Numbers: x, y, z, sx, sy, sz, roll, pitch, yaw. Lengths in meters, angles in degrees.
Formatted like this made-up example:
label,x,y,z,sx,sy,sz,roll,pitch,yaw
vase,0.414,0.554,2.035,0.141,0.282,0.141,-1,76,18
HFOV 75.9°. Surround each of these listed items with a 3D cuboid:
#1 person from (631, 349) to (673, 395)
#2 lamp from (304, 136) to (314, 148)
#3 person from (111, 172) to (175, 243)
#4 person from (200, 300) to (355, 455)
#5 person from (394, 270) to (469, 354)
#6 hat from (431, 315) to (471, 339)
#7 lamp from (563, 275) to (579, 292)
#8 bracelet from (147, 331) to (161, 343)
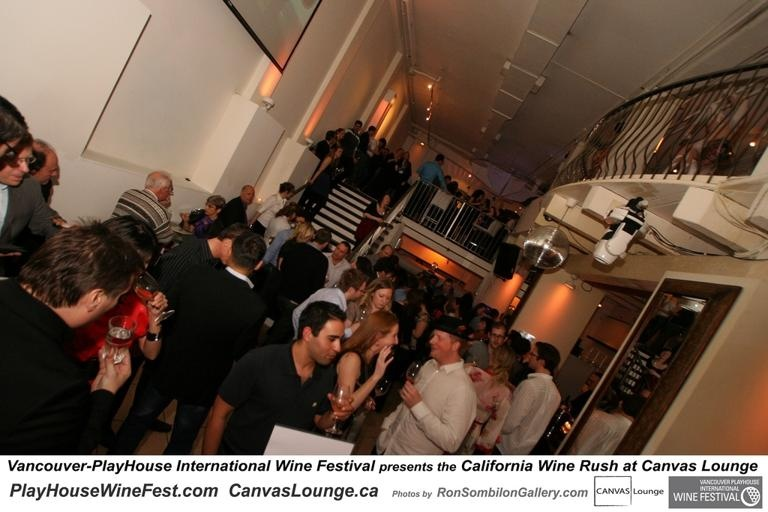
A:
label,x,y,z,sx,sy,sz,roll,pitch,yaw
person,3.183,1.389,5.777,0.128,0.716,0.407,24,8,12
lamp,-1.683,-2.576,11.176,0.175,0.222,0.708,23,10,-7
person,-2.597,-0.533,5.288,0.363,0.940,0.367,33,14,2
person,-0.812,1.071,3.969,0.930,1.158,0.227,21,7,-18
person,0.678,0.827,7.268,0.844,0.689,2.059,17,9,7
hat,0.658,0.682,4.773,0.247,0.101,0.292,20,-5,10
lamp,4.141,0.592,10.908,0.265,0.273,0.072,33,-1,6
bracelet,-1.903,0.674,4.071,0.088,0.073,0.091,7,1,18
